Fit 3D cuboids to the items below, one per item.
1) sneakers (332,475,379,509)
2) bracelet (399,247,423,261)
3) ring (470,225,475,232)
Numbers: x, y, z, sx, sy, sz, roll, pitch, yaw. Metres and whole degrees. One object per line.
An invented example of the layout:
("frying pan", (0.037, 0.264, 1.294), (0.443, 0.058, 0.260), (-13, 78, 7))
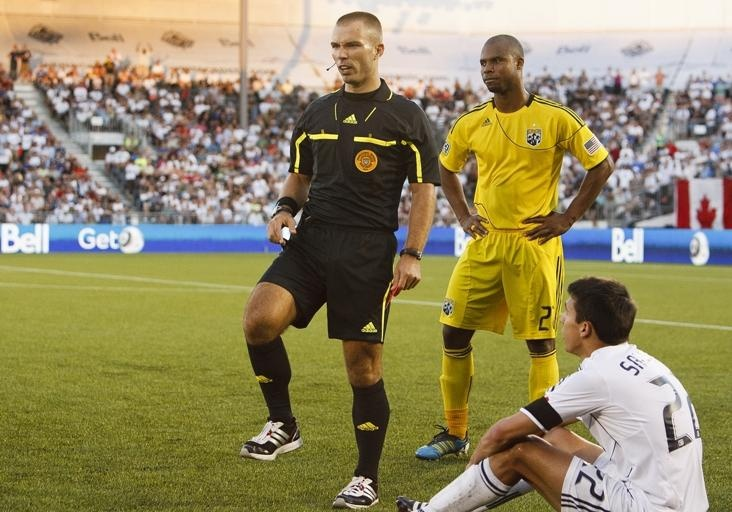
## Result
("sneakers", (-0.084, 2.169, 9.285), (0.206, 0.189, 0.422), (-7, -16, 34))
("bracelet", (0.413, -0.042, 9.482), (0.129, 0.050, 0.135), (16, -11, 34))
("ring", (1.060, -0.292, 10.054), (0.039, 0.060, 0.022), (0, 0, 14))
